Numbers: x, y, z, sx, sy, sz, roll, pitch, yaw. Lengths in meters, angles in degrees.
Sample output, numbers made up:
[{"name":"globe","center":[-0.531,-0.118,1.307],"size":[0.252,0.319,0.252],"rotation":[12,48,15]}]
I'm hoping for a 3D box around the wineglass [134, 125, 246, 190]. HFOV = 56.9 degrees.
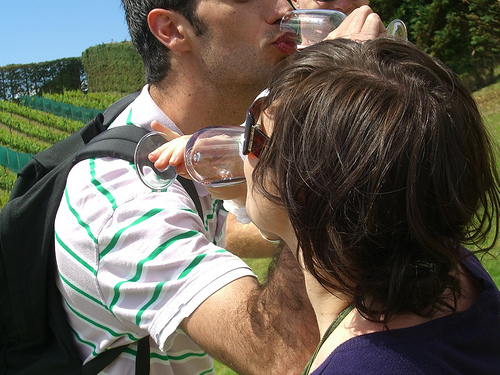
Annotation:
[{"name":"wineglass","center":[-0.190,-0.125,1.733],"size":[0.366,0.264,0.394],"rotation":[0,11,23]}]
